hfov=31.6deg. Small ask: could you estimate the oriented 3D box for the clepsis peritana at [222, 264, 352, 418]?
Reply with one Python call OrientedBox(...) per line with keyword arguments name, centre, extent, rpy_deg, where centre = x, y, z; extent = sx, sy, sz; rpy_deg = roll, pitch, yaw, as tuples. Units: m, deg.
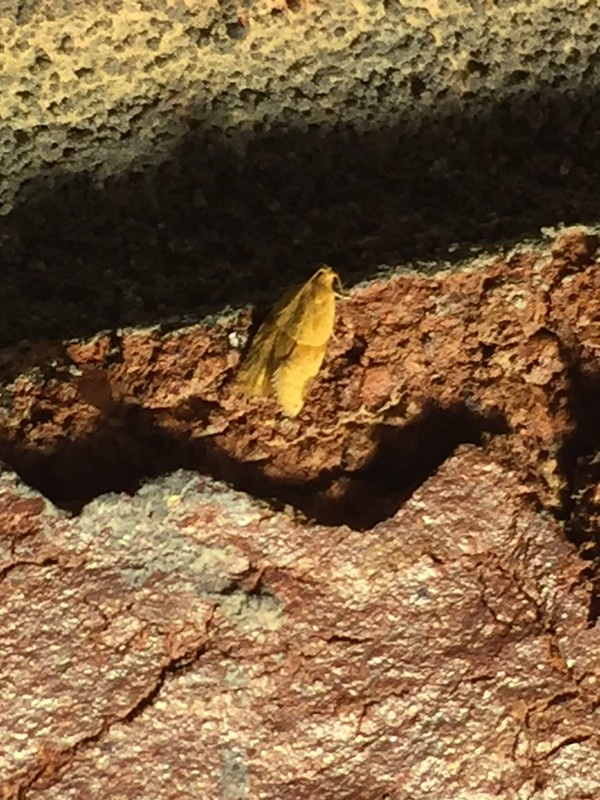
OrientedBox(name="clepsis peritana", centre=(0.014, -0.087, 1.752), extent=(0.175, 0.239, 0.084), rpy_deg=(31, 4, 29))
